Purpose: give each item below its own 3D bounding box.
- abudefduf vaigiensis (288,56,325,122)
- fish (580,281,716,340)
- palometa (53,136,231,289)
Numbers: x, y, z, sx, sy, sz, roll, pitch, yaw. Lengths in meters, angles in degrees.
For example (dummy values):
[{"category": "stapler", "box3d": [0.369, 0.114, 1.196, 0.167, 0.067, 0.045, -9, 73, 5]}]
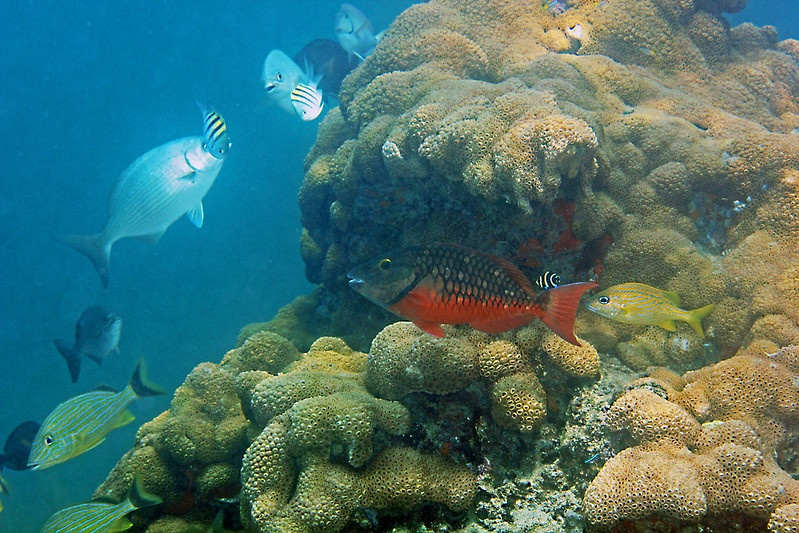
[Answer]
[{"category": "abudefduf vaigiensis", "box3d": [-2.031, -3.802, 18.191, 0.540, 1.055, 0.865, -16, 16, 36]}, {"category": "fish", "box3d": [4.866, 0.880, 15.961, 2.274, 1.045, 0.598, 11, 6, 2]}, {"category": "palometa", "box3d": [-5.150, -1.402, 17.088, 3.288, 2.592, 0.367, -27, 12, 4]}]
